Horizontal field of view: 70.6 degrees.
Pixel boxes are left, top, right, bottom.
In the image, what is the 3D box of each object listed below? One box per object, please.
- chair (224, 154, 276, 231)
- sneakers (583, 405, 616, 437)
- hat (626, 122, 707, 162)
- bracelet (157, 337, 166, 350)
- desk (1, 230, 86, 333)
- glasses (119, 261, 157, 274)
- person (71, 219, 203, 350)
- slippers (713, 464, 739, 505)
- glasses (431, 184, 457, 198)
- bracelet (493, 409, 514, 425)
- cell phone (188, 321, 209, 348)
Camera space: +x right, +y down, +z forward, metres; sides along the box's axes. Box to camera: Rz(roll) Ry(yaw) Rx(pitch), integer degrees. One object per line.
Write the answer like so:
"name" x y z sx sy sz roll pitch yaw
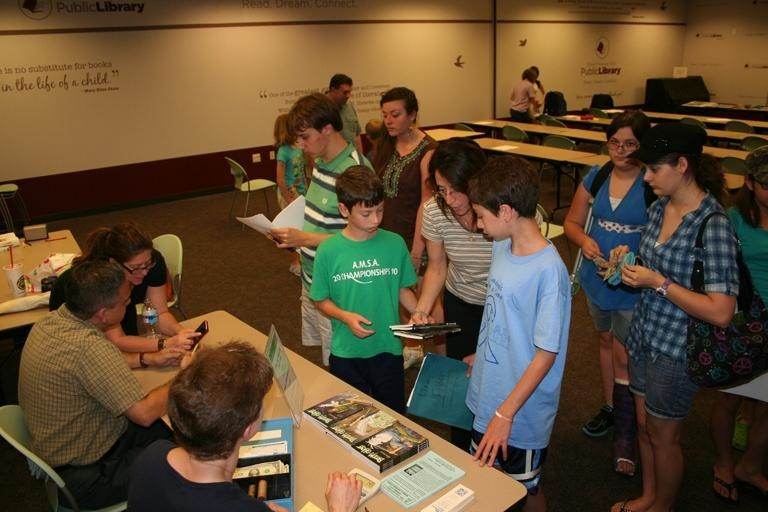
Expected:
"chair" -1.888 -0.999 7.855 0.697 0.917 0.605 -10 21 -23
"sneakers" 1.508 1.141 3.831 0.312 0.134 0.113 -14 26 -32
"hat" 1.448 -0.588 2.762 0.381 0.174 0.277 -5 11 0
"bracelet" -1.320 0.529 3.246 0.042 0.058 0.055 2 -17 6
"desk" -2.842 0.277 4.568 0.623 0.225 0.935 -25 46 -35
"glasses" -1.470 0.063 3.219 0.090 0.028 0.088 16 23 33
"person" -1.464 0.153 3.375 0.659 1.085 0.795 -8 20 -22
"slippers" 2.100 1.409 3.349 0.133 0.067 0.272 8 11 24
"glasses" 0.328 -0.330 2.901 0.101 0.033 0.079 11 15 -39
"bracelet" 0.538 0.730 2.449 0.064 0.017 0.053 29 -7 -10
"cell phone" -1.083 0.467 3.181 0.018 0.170 0.093 25 21 -30
